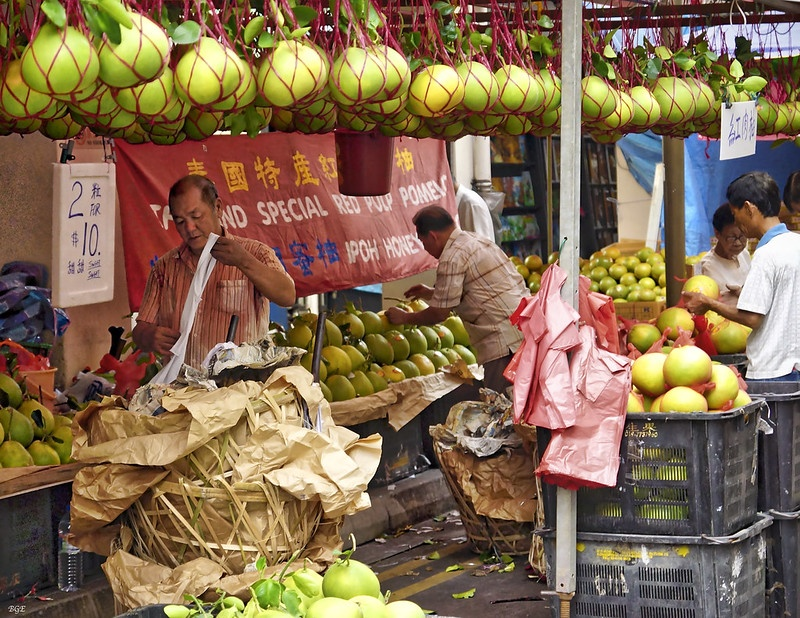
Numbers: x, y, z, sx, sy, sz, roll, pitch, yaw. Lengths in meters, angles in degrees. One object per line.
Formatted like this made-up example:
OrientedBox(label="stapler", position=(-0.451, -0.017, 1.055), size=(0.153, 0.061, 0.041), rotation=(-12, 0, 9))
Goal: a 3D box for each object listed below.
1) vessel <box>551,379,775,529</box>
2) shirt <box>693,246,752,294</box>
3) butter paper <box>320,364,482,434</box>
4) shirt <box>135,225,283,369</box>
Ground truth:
OrientedBox(label="vessel", position=(1.069, 0.605, 3.709), size=(0.577, 0.361, 0.449), rotation=(-2, -2, 22))
OrientedBox(label="shirt", position=(2.119, -0.253, 6.019), size=(0.296, 0.253, 0.177), rotation=(-13, 13, -29))
OrientedBox(label="butter paper", position=(-0.001, 0.574, 5.832), size=(0.432, 0.237, 0.770), rotation=(-15, 4, 38))
OrientedBox(label="shirt", position=(-0.946, -0.050, 4.416), size=(0.572, 0.593, 0.275), rotation=(3, 9, 4))
